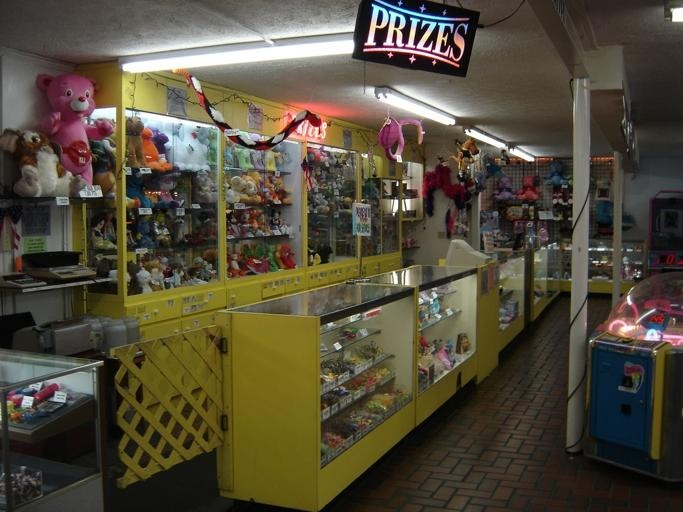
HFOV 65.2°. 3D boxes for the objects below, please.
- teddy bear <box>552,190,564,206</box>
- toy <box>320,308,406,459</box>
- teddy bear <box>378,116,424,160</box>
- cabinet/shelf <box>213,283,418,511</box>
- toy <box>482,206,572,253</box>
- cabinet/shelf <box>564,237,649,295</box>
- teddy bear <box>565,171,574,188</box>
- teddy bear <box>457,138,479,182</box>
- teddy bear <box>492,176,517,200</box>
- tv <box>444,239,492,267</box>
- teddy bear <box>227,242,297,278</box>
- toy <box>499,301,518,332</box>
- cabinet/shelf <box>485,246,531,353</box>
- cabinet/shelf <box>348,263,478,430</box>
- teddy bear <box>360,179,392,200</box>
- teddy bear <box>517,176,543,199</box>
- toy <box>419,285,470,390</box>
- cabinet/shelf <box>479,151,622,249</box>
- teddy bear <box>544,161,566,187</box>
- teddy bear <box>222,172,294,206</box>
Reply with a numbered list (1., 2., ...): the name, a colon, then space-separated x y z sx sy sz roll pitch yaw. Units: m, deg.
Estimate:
1. teddy bear: 6.127 -1.702 15.144 0.254 0.462 0.165 -2 -22 10
2. toy: 0.162 1.099 4.596 0.414 0.882 1.432 -2 4 22
3. teddy bear: 0.886 -1.620 7.362 0.203 0.589 1.122 5 14 35
4. cabinet/shelf: -0.198 1.165 4.274 0.561 1.014 1.632 0 4 20
5. toy: 4.976 -0.746 14.084 1.264 1.132 0.450 0 2 10
6. cabinet/shelf: 5.271 0.183 10.409 1.404 1.212 0.496 1 0 34
7. teddy bear: 6.396 -2.146 15.092 0.110 0.381 0.489 2 6 34
8. teddy bear: 2.535 -1.941 10.619 0.391 0.831 1.272 0 6 14
9. teddy bear: 4.700 -1.965 15.388 0.661 0.800 0.606 0 2 11
10. tv: 1.823 -0.051 7.809 0.615 0.458 0.330 4 4 30
11. teddy bear: -1.167 0.011 7.377 0.444 0.431 1.375 1 6 26
12. toy: 2.693 0.913 8.612 0.329 0.427 0.625 3 7 33
13. cabinet/shelf: 2.634 0.718 8.462 0.519 1.294 1.537 0 3 21
14. cabinet/shelf: 1.022 0.919 6.283 0.798 1.364 1.617 2 6 32
15. teddy bear: 0.622 -1.229 9.742 0.394 0.503 0.746 3 6 26
16. teddy bear: 5.388 -1.956 15.305 0.550 0.751 0.598 2 6 29
17. toy: 1.159 0.942 6.121 0.391 0.927 1.345 -1 4 22
18. cabinet/shelf: 5.127 -1.385 12.969 2.474 2.405 0.807 0 -1 11
19. teddy bear: 6.062 -2.314 15.089 0.668 0.790 0.361 1 -11 6
20. teddy bear: -1.130 -0.940 7.364 0.198 0.473 1.477 1 6 23
